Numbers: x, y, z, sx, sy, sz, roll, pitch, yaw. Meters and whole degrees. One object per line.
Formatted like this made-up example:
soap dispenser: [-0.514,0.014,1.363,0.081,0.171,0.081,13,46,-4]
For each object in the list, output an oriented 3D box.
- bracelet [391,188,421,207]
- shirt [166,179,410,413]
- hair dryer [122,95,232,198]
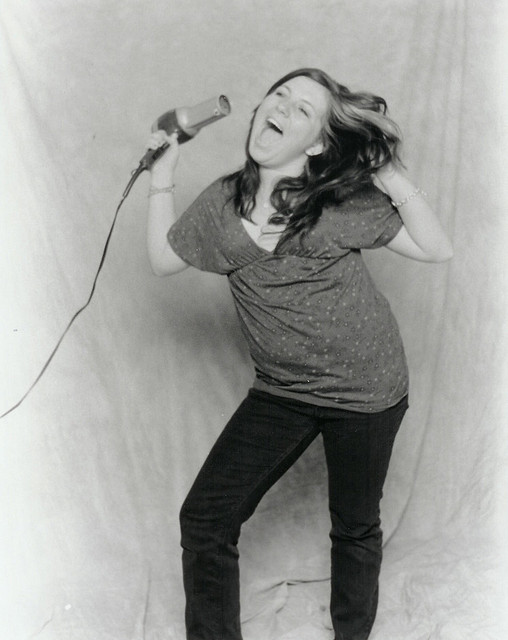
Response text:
bracelet: [0.312,-0.241,1.602,0.045,0.011,0.035,-31,-1,7]
shirt: [0.062,-0.059,1.662,0.601,0.523,0.237,-10,10,1]
hair dryer: [-0.159,-0.370,1.649,0.238,0.162,0.126,-7,12,1]
